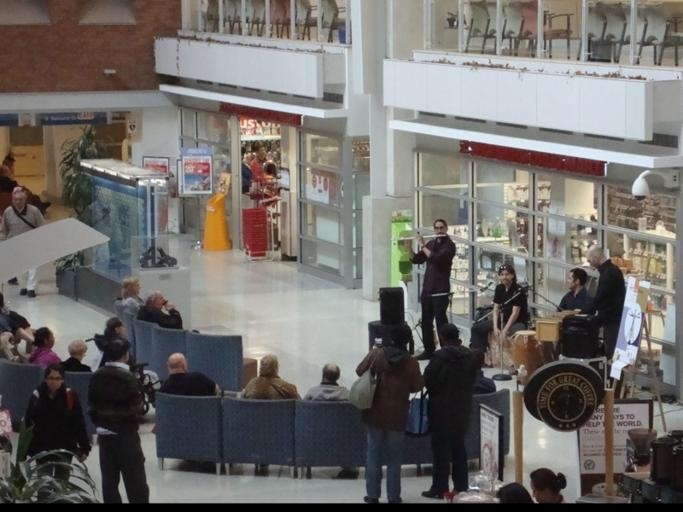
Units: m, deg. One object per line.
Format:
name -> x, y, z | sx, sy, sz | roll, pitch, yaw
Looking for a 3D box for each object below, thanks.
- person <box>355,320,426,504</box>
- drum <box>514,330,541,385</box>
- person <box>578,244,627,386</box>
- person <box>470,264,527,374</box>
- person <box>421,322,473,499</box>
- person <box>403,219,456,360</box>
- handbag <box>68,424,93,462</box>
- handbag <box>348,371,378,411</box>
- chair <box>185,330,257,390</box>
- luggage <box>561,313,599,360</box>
person -> 0.502, 1.583, 12.114 | 0.526, 1.874, 0.690 | -1, 9, -16
drum -> 2.513, 1.306, 15.478 | 0.323, 0.542, 0.620 | 2, 0, -30
person -> 3.382, 0.672, 14.808 | 0.490, 1.610, 0.546 | 0, 1, -2
person -> 2.253, 0.845, 15.918 | 0.789, 1.397, 0.721 | -7, 14, -33
person -> 1.109, 1.601, 12.270 | 0.577, 1.698, 0.693 | 0, 1, -1
person -> 1.312, 0.348, 16.790 | 0.630, 2.152, 0.524 | -6, 11, -25
handbag -> -2.664, 1.922, 11.763 | 0.207, 0.313, 0.105 | 3, -2, 14
handbag -> 0.221, 1.387, 11.901 | 0.290, 0.359, 0.168 | 2, 0, 42
chair -> -1.648, 1.355, 15.022 | 0.870, 0.699, 0.333 | 2, 0, 22
luggage -> 3.052, 0.985, 14.544 | 0.294, 0.542, 0.437 | -5, 6, -12
